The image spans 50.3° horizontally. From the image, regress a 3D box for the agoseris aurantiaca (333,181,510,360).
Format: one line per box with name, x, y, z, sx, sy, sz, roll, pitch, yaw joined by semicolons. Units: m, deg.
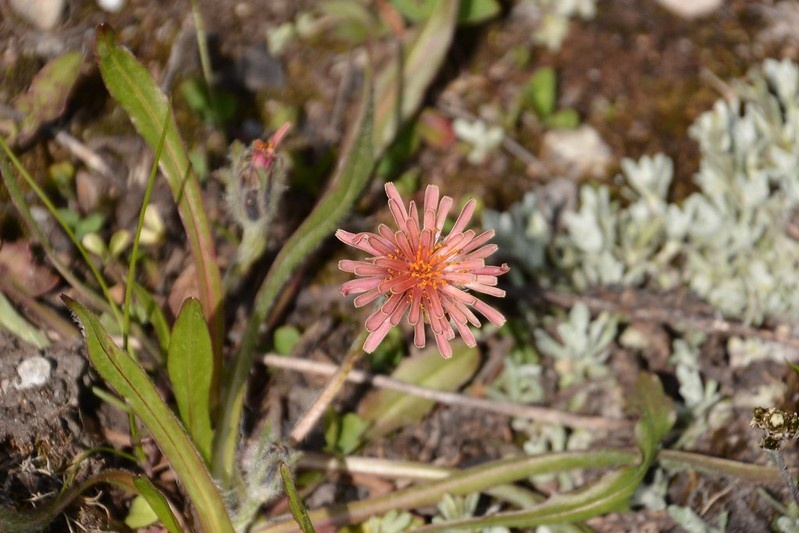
agoseris aurantiaca;0.112;-0.019;3.121;0.580;0.237;0.659;-3;43;-28
